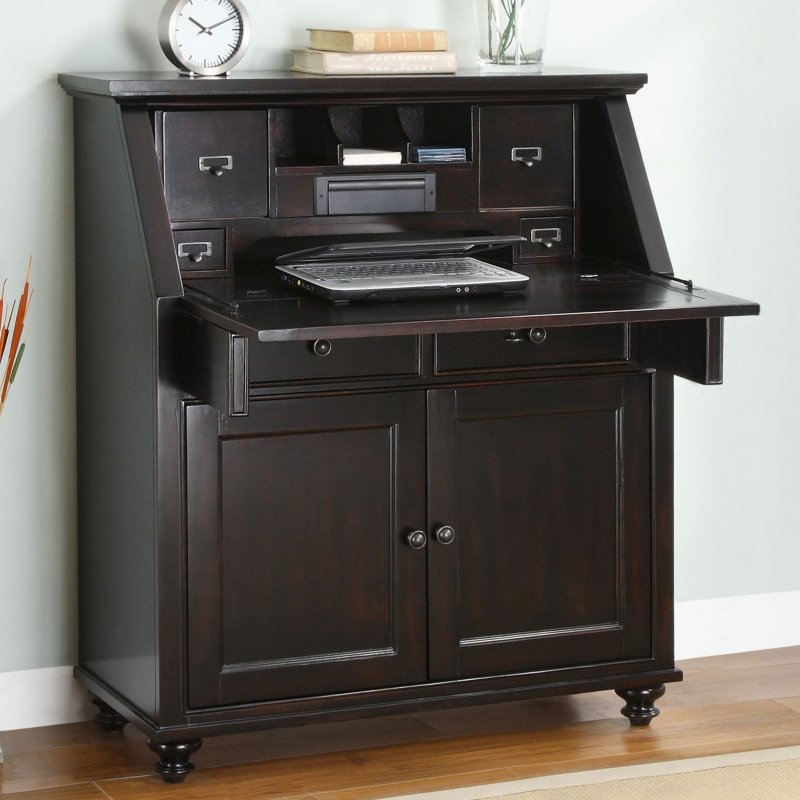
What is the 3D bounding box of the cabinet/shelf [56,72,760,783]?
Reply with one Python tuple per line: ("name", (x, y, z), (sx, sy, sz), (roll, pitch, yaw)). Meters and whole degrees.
("cabinet/shelf", (0.021, 0.022, 1.754), (1.160, 1.290, 1.053), (-3, 8, -22))
